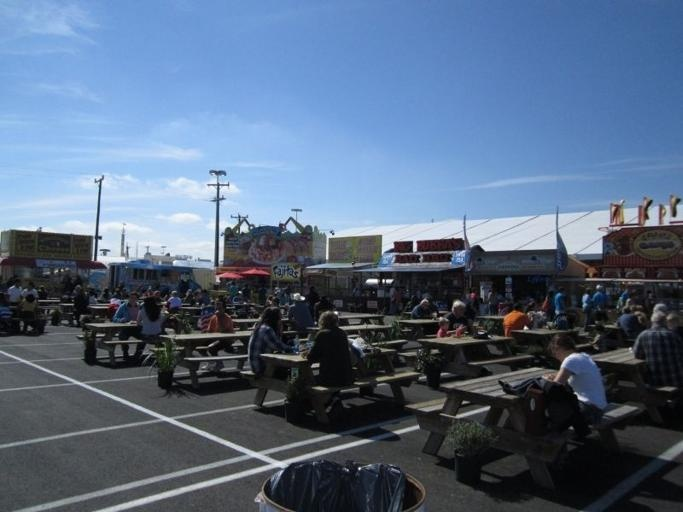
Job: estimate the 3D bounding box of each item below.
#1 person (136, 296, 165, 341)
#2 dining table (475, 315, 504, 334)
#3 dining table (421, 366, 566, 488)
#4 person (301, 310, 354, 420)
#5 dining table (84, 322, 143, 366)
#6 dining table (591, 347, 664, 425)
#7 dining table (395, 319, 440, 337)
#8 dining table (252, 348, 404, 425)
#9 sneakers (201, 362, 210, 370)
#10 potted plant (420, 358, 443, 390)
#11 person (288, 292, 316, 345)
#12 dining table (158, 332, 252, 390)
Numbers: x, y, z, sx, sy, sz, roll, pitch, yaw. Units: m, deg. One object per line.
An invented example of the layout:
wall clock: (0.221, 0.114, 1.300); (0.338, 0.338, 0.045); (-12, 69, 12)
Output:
person: (-5.079, 1.597, 14.043); (0.742, 1.053, 0.729); (7, 8, 22)
dining table: (4.140, 1.909, 14.771); (0.718, 0.387, 0.681); (-7, -17, 42)
dining table: (2.123, 2.217, 7.272); (1.519, 0.719, 1.470); (-5, -4, 38)
person: (-0.196, 1.647, 8.967); (0.836, 1.450, 0.463); (1, -3, -1)
dining table: (-6.201, 2.198, 13.893); (1.510, 0.963, 1.452); (-1, -4, 41)
dining table: (5.245, 2.171, 9.678); (0.919, 0.815, 1.700); (-6, -1, 14)
dining table: (2.233, 2.086, 15.474); (1.083, 0.524, 1.271); (1, -3, 13)
dining table: (-0.698, 2.233, 9.216); (1.460, 0.629, 1.734); (-2, -3, 43)
sneakers: (-3.345, 2.671, 12.990); (0.195, 0.158, 0.260); (-1, -11, 4)
potted plant: (1.930, 2.470, 11.188); (0.551, 0.622, 0.549); (0, -6, -5)
person: (-1.191, 1.856, 15.203); (0.724, 1.500, 0.708); (-3, 5, -31)
dining table: (-3.261, 2.003, 11.561); (1.235, 0.581, 1.592); (0, -3, 41)
